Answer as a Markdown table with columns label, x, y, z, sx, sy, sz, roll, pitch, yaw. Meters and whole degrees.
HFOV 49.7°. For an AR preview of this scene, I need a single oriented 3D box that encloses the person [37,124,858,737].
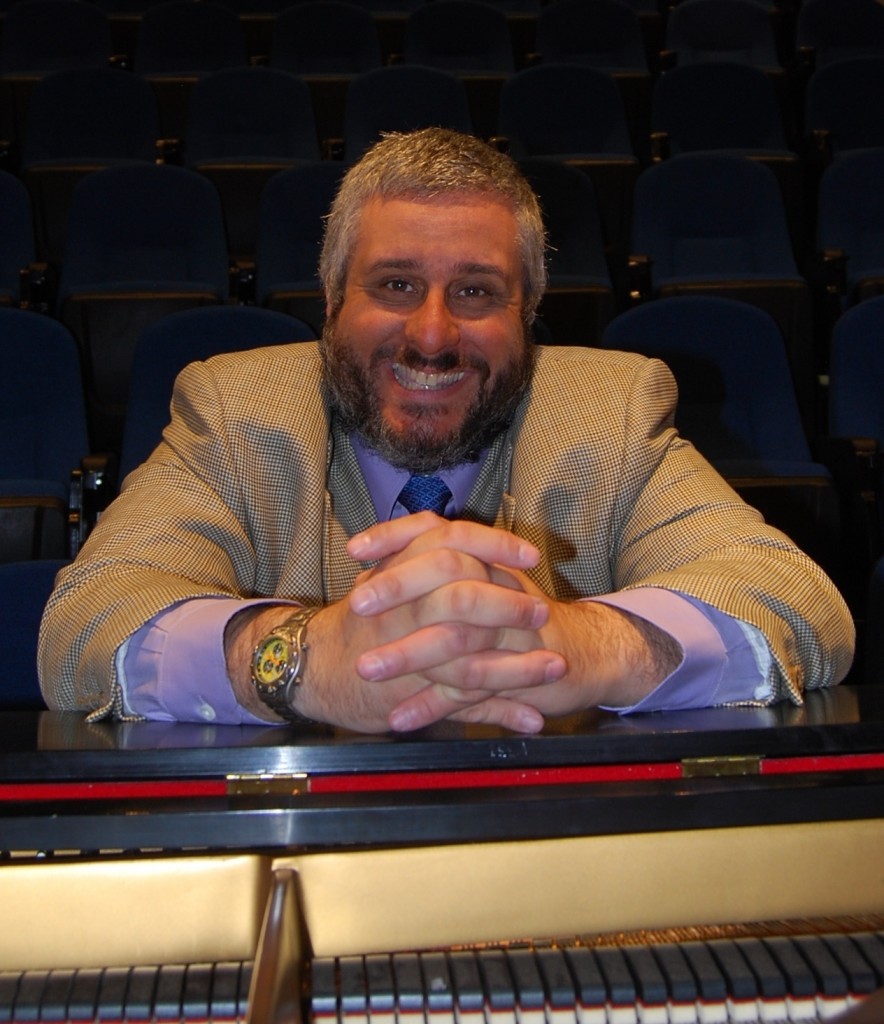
| label | x | y | z | sx | sy | sz | roll | pitch | yaw |
| --- | --- | --- | --- | --- | --- | --- | --- | --- | --- |
| person | -0.012 | -0.063 | 1.043 | 0.740 | 0.314 | 0.830 | 0 | 32 | -4 |
